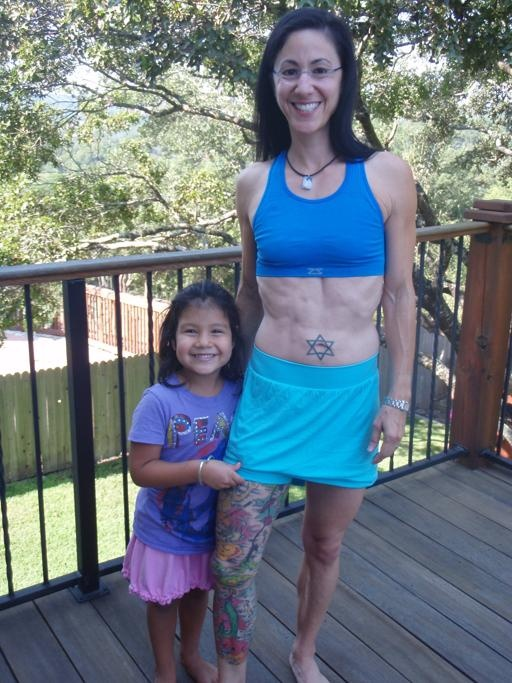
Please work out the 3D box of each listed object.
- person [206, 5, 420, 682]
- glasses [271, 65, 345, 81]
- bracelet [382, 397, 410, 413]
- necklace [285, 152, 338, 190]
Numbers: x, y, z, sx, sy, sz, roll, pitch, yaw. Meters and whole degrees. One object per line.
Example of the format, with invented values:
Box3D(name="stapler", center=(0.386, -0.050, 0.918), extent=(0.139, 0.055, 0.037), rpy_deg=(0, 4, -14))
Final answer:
Box3D(name="person", center=(0.137, 0.104, 1.216), extent=(0.395, 1.413, 0.344), rpy_deg=(3, 14, 4))
Box3D(name="glasses", center=(0.092, -0.470, 1.037), extent=(0.115, 0.033, 0.044), rpy_deg=(4, 14, 5))
Box3D(name="bracelet", center=(0.271, 0.119, 1.134), extent=(0.038, 0.028, 0.037), rpy_deg=(1, -14, 38))
Box3D(name="necklace", center=(0.104, -0.304, 1.062), extent=(0.085, 0.008, 0.093), rpy_deg=(12, 53, 12))
